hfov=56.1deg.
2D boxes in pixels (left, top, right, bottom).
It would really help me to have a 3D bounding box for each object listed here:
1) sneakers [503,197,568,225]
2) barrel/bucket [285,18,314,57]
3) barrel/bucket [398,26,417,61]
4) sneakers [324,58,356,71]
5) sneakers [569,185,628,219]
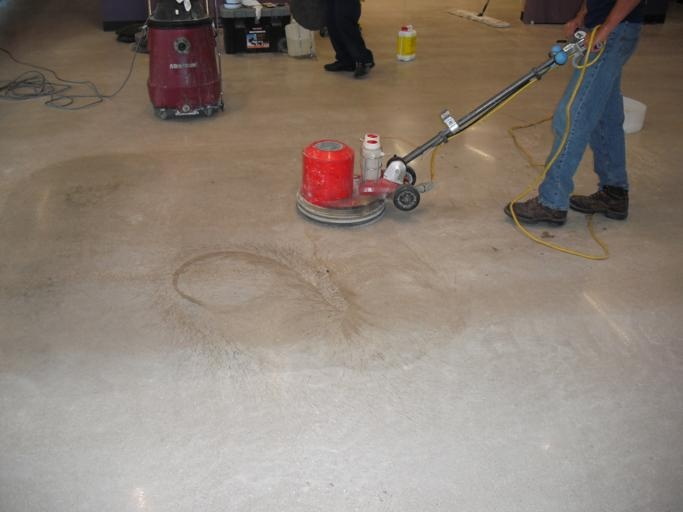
[{"bbox_3d":[1.169,-0.265,3.885,0.331,0.171,0.157,13,34,0],"label":"sneakers"},{"bbox_3d":[-0.415,-2.252,6.588,0.200,0.353,0.236,-20,41,-21],"label":"barrel/bucket"},{"bbox_3d":[0.670,-2.202,6.586,0.203,0.310,0.212,-1,24,0],"label":"barrel/bucket"},{"bbox_3d":[-0.012,-1.855,6.275,0.304,0.125,0.116,4,37,-2],"label":"sneakers"},{"bbox_3d":[1.584,-0.340,3.937,0.352,0.199,0.157,16,41,18],"label":"sneakers"}]
